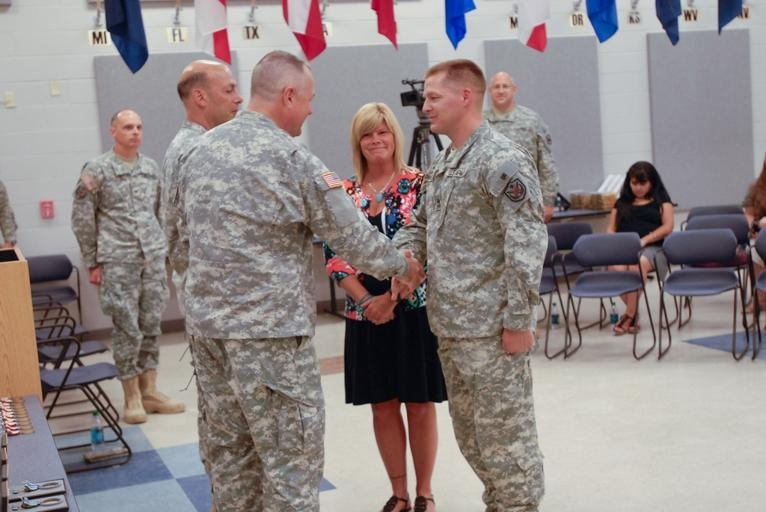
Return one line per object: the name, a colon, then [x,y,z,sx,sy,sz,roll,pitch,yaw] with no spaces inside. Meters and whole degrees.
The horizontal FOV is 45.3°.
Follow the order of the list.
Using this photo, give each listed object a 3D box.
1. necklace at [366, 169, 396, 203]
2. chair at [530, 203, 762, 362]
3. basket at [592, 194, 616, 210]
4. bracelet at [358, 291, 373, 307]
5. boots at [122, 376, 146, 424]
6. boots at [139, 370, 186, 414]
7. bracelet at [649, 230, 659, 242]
necklace: [-0.001,-0.435,5.702,0.214,0.236,0.027,-3,-21,22]
chair: [2.445,0.296,8.486,1.780,1.067,1.302,-2,7,14]
basket: [2.562,-0.634,10.548,0.201,0.144,0.204,4,9,33]
bracelet: [-0.102,0.250,5.550,0.083,0.071,0.066,-4,-21,45]
boots: [-1.986,1.131,7.328,0.179,0.355,0.367,-5,15,-22]
boots: [-1.788,1.110,7.472,0.463,0.348,0.170,2,9,26]
bracelet: [2.632,-0.197,8.860,0.103,0.100,0.025,-5,-15,41]
